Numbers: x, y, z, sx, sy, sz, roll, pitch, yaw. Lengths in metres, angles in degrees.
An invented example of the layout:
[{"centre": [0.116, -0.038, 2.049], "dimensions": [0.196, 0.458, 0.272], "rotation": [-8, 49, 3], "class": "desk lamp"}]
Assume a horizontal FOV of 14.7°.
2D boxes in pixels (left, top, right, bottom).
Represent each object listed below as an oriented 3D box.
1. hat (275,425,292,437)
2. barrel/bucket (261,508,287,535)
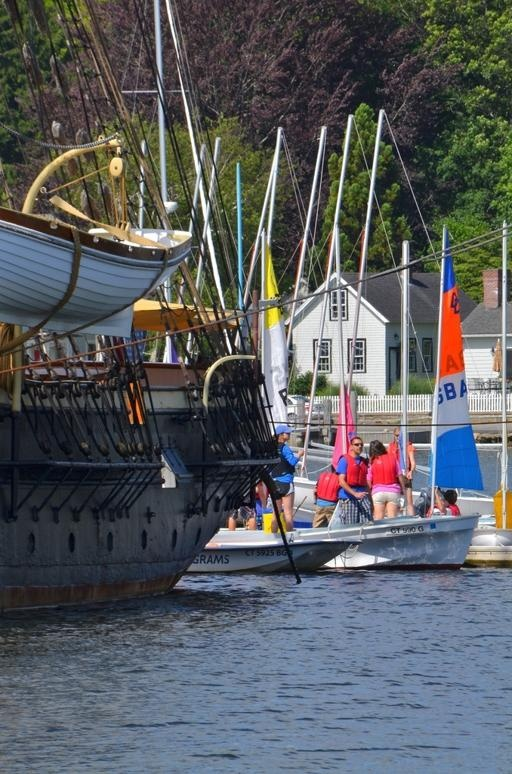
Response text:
[{"centre": [0.418, 0.682, 30.332], "dimensions": [0.164, 0.135, 0.133], "rotation": [8, 10, 32], "class": "hat"}, {"centre": [0.294, 1.931, 27.930], "dimensions": [0.254, 0.362, 0.523], "rotation": [3, 2, 2], "class": "barrel/bucket"}]
